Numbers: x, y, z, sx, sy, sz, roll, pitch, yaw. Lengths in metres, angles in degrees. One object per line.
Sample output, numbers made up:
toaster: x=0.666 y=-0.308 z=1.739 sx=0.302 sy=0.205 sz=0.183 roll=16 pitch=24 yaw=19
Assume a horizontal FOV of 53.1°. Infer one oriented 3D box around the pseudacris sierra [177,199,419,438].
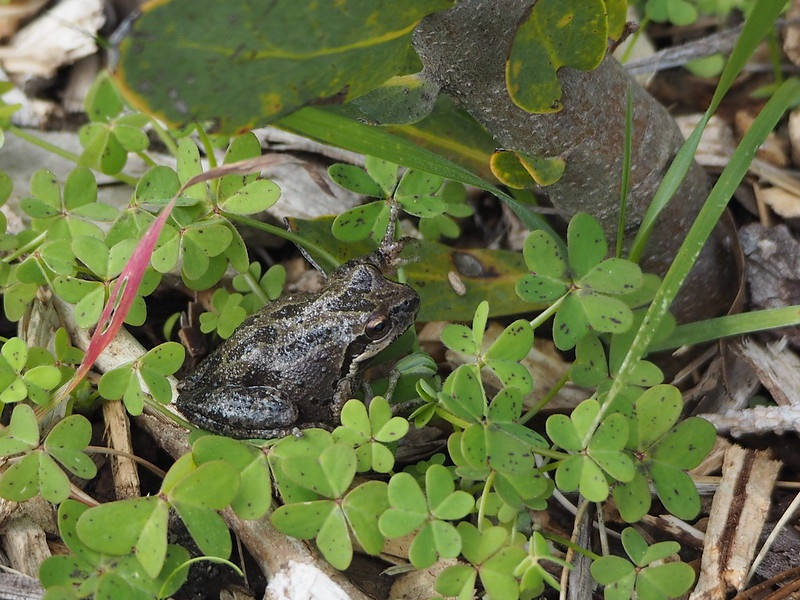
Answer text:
pseudacris sierra: x=-0.331 y=0.152 z=2.557 sx=0.767 sy=0.302 sz=0.631 roll=-13 pitch=63 yaw=-7
